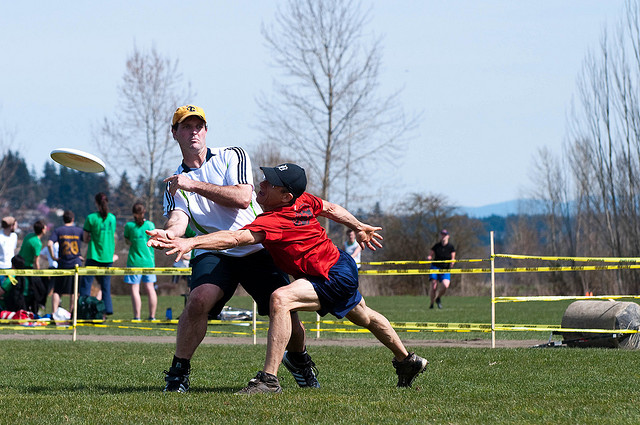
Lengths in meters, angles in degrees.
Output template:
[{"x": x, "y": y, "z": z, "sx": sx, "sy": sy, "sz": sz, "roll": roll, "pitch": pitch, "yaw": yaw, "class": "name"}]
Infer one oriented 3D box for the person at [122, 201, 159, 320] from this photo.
[{"x": -4.210, "y": 1.143, "z": 27.045, "sx": 0.888, "sy": 2.777, "sz": 0.914, "roll": 5, "pitch": -8, "yaw": -43, "class": "person"}]
